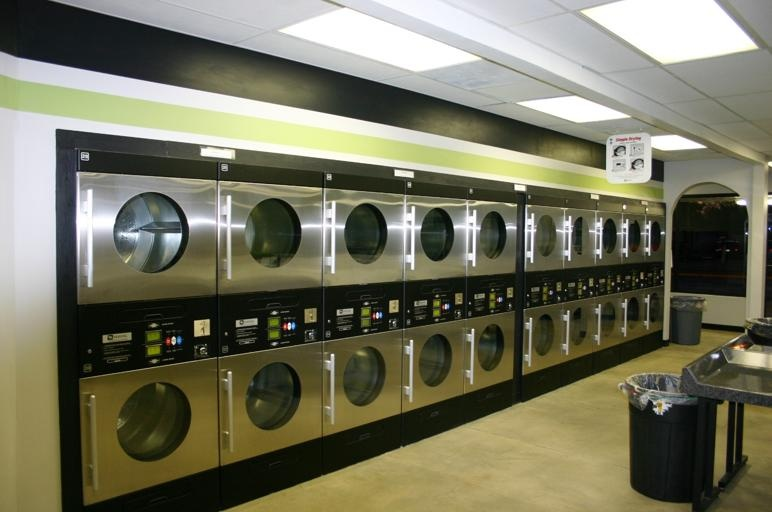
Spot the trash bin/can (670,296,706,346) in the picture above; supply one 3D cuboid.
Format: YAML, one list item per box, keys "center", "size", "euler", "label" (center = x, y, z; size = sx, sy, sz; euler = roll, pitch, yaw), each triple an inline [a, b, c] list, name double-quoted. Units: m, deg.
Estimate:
- center: [5.259, 1.114, 9.567]
  size: [0.608, 0.753, 0.623]
  euler: [0, -7, 21]
  label: "trash bin/can"
